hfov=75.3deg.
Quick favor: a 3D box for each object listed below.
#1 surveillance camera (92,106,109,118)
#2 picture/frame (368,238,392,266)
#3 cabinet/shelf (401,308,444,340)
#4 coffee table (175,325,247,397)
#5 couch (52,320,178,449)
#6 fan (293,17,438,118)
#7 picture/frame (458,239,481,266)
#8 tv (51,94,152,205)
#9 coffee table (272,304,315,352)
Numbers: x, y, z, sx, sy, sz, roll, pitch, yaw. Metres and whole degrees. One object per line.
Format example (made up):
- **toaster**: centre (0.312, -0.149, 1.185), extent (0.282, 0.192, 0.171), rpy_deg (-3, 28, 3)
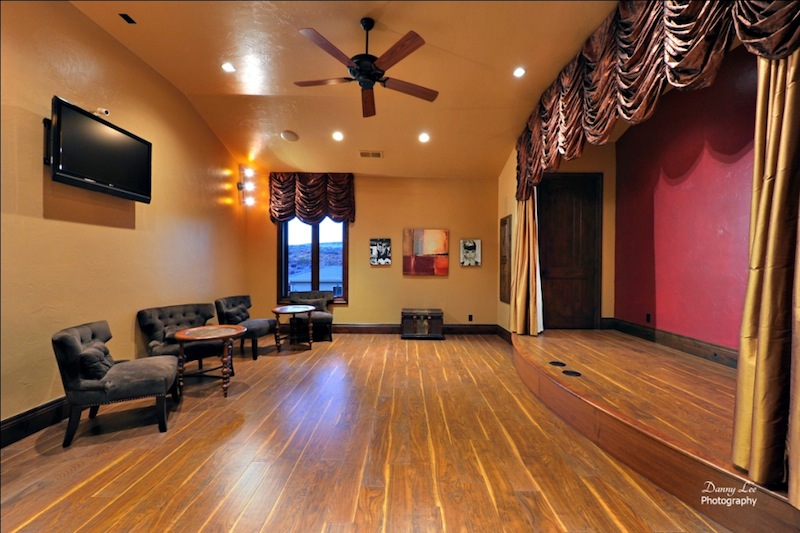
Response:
- **surveillance camera**: centre (-3.362, -1.763, 5.858), extent (0.150, 0.050, 0.110), rpy_deg (6, 2, 32)
- **picture/frame**: centre (-0.368, -0.266, 9.020), extent (0.467, 0.528, 0.054), rpy_deg (1, -4, -4)
- **cabinet/shelf**: centre (0.357, 0.941, 8.737), extent (0.700, 0.469, 0.479), rpy_deg (0, -6, 1)
- **coffee table**: centre (-2.290, 1.119, 6.371), extent (0.719, 0.640, 0.850), rpy_deg (1, 6, 1)
- **couch**: centre (-3.012, 1.252, 5.873), extent (1.178, 1.357, 1.249), rpy_deg (-1, 0, -18)
- **fan**: centre (-0.332, -2.165, 5.708), extent (1.094, 0.527, 1.109), rpy_deg (1, -16, -4)
- **picture/frame**: centre (1.208, -0.241, 9.037), extent (0.450, 0.598, 0.063), rpy_deg (1, -5, -1)
- **tv**: centre (-3.357, -1.305, 5.788), extent (0.116, 1.029, 1.053), rpy_deg (4, 9, 28)
- **coffee table**: centre (-1.636, 0.928, 7.944), extent (0.632, 0.535, 0.717), rpy_deg (0, -1, -8)
